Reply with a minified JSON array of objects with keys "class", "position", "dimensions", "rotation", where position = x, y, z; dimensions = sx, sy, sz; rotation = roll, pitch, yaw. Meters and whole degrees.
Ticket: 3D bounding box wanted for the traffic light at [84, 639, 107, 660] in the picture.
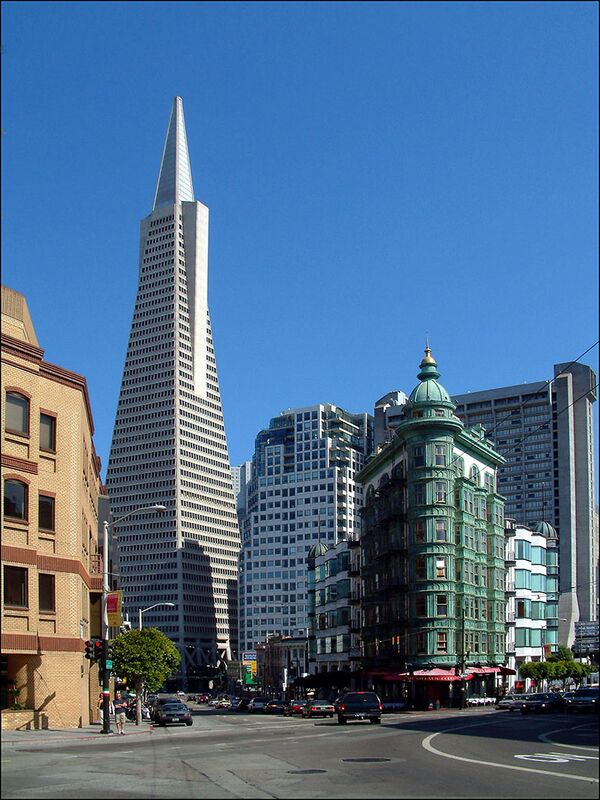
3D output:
[{"class":"traffic light","position":[-7.632,9.658,60.328],"dimensions":[0.700,0.842,0.769],"rotation":[-1,-3,27]}]
